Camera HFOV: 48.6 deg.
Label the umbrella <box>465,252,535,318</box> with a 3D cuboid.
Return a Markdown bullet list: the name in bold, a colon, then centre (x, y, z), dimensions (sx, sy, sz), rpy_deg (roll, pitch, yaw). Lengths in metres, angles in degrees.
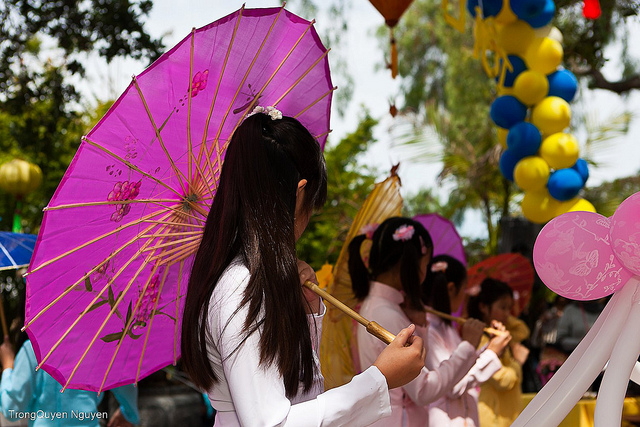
- **umbrella**: centre (1.825, 0.601, 6.844), dimensions (0.697, 0.899, 0.404), rpy_deg (-3, -3, -1)

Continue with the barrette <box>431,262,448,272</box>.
- **barrette**: centre (0.915, 0.403, 5.404), dimensions (0.144, 0.071, 0.051), rpy_deg (-2, -7, -15)

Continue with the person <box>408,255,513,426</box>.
- **person**: centre (1.010, 0.953, 5.139), dimensions (0.391, 0.421, 1.263), rpy_deg (-15, -34, -4)

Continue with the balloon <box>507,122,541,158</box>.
- **balloon**: centre (1.417, -0.517, 5.082), dimensions (0.212, 0.226, 0.243), rpy_deg (-43, 6, 3)

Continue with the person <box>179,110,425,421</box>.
- **person**: centre (-0.163, 0.215, 3.285), dimensions (0.965, 1.416, 0.341), rpy_deg (-1, -6, -15)

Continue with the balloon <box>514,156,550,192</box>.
- **balloon**: centre (1.464, -0.273, 5.020), dimensions (0.205, 0.276, 0.231), rpy_deg (3, -27, -3)

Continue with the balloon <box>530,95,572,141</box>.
- **balloon**: centre (1.611, -0.665, 4.918), dimensions (0.233, 0.289, 0.300), rpy_deg (5, 11, 24)

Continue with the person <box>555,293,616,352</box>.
- **person**: centre (2.953, 1.265, 8.098), dimensions (0.498, 0.555, 0.910), rpy_deg (-7, -8, 24)

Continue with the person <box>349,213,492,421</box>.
- **person**: centre (0.635, 0.690, 4.610), dimensions (0.671, 0.522, 1.690), rpy_deg (-12, -49, -10)

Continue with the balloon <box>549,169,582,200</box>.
- **balloon**: centre (1.698, -0.212, 4.969), dimensions (0.209, 0.296, 0.232), rpy_deg (1, -2, -23)

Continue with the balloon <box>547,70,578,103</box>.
- **balloon**: centre (1.697, -0.891, 4.998), dimensions (0.191, 0.211, 0.110), rpy_deg (-26, 7, -6)
